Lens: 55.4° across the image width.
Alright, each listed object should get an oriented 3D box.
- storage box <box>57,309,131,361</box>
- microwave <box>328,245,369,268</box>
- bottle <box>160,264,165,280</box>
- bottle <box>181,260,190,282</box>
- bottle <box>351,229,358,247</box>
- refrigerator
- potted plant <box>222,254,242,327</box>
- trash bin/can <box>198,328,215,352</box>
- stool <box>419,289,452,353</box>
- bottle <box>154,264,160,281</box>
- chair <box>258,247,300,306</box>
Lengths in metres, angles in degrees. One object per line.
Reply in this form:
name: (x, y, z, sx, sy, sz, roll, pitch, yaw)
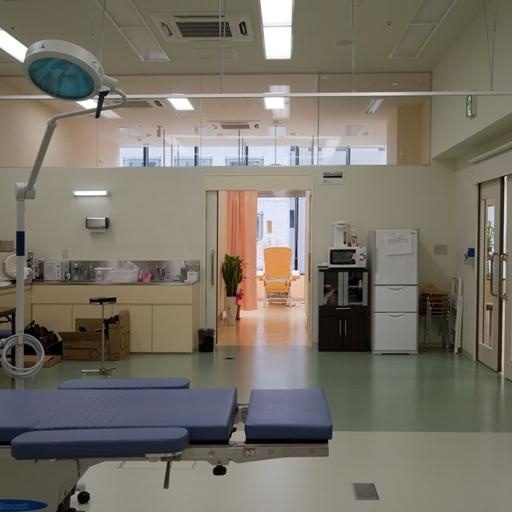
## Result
storage box: (-2.083, 1.083, 6.555, 0.610, 0.476, 0.676, 0, 0, 0)
microwave: (1.307, 0.008, 7.002, 0.537, 0.310, 0.128, 0, 2, 4)
bottle: (-1.415, 0.225, 7.330, 0.127, 0.246, 0.057, -1, 2, -10)
bottle: (-1.061, 0.208, 7.269, 0.140, 0.298, 0.143, 0, 2, 0)
bottle: (1.438, -0.274, 7.185, 0.110, 0.258, 0.231, 0, 2, 11)
refrigerator: (1.928, 0.501, 6.808, 0.592, 1.723, 0.181, 0, 2, -3)
potted plant: (-0.507, 0.604, 9.318, 0.411, 1.301, 0.556, -1, 2, -25)
trash bin/can: (-0.707, 1.183, 6.924, 0.248, 0.303, 0.250, 3, -3, -31)
stool: (2.584, 0.925, 7.022, 0.460, 0.865, 0.474, 0, 2, 9)
bottle: (-1.465, 0.238, 7.337, 0.098, 0.211, 0.027, 0, 2, 17)
chair: (0.529, 0.476, 11.576, 0.769, 1.384, 1.009, 0, 2, 4)
